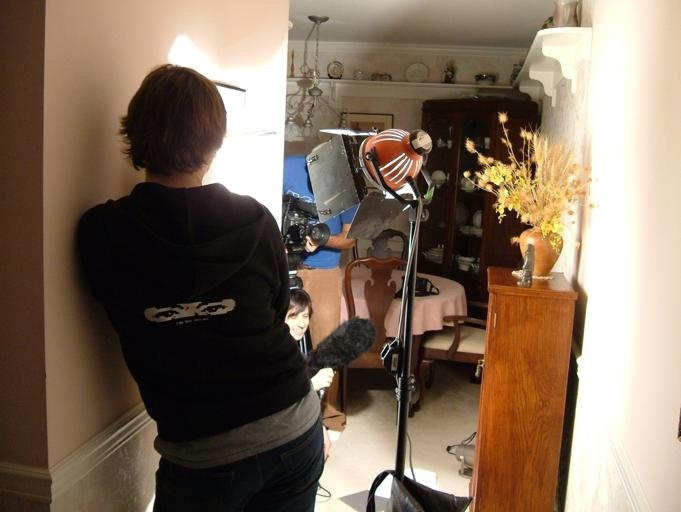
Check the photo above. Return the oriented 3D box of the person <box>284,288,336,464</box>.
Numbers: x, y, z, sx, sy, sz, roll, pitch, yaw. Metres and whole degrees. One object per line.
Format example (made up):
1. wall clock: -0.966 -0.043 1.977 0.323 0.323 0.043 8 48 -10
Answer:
1. person: -0.139 0.527 2.632 0.178 0.858 0.223 -6 6 2

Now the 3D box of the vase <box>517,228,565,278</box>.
1. vase: 0.907 -0.029 2.518 0.194 0.228 0.203 1 8 -1

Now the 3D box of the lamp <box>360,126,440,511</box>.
1. lamp: 0.171 0.259 1.752 0.208 1.272 0.304 0 6 6

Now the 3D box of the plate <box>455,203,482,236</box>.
1. plate: 1.086 -0.308 4.816 0.040 0.255 0.208 -1 2 -41

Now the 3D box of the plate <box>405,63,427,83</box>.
1. plate: 0.671 -1.600 4.954 0.164 0.178 0.040 10 18 4

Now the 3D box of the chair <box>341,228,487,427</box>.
1. chair: 0.507 0.313 3.764 0.945 1.450 0.988 4 15 14

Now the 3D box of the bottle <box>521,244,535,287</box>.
1. bottle: 0.799 0.029 2.427 0.058 0.169 0.160 1 7 18

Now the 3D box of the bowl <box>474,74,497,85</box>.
1. bowl: 1.239 -1.495 4.796 0.135 0.065 0.137 1 10 0
